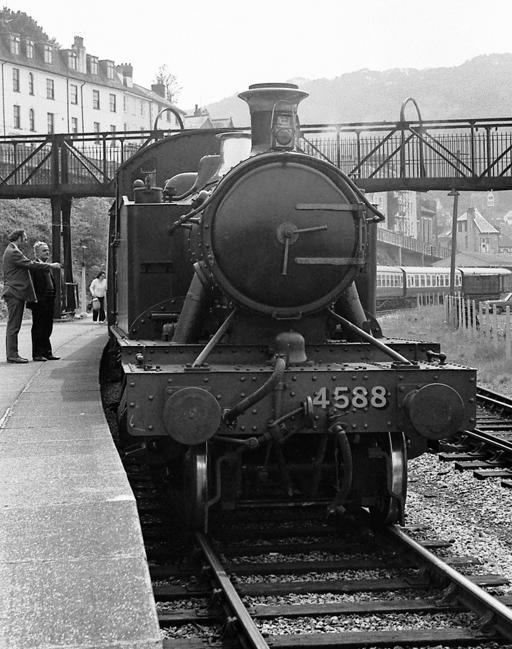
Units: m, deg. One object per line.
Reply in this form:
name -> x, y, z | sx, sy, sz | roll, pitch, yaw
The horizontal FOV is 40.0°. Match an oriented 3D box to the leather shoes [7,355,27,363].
leather shoes -> -3.389, 0.510, 9.989 | 0.290, 0.129, 0.113 | -3, 4, -7

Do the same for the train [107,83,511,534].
train -> 0.035, -0.185, 5.637 | 2.306, 3.510, 3.015 | -2, 6, -13

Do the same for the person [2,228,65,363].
person -> -3.297, -0.406, 10.077 | 0.645, 1.877, 0.777 | -3, 6, -19
